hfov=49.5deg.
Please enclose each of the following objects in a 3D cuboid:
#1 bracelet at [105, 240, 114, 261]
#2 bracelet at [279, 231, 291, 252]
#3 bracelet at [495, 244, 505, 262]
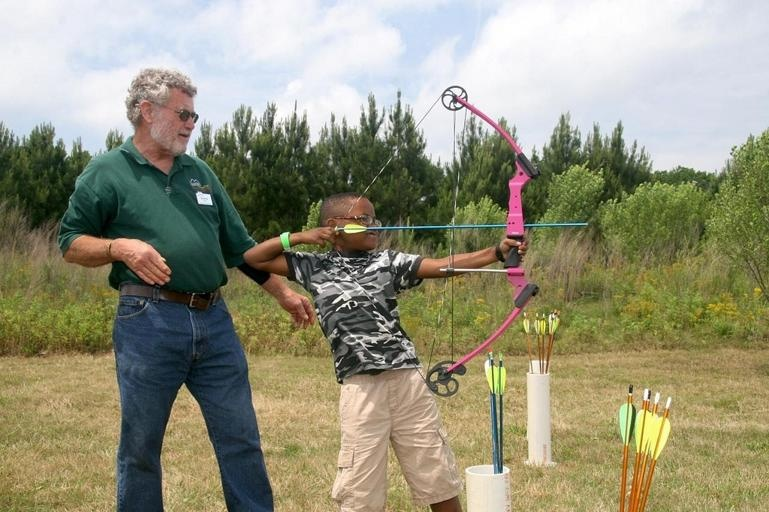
[{"bbox_3d":[-2.334,-0.044,7.087,0.041,0.125,0.088,2,-4,2],"label":"bracelet"},{"bbox_3d":[-0.885,-0.129,7.435,0.103,0.165,0.171,-3,15,-2],"label":"bracelet"},{"bbox_3d":[0.977,-0.024,7.207,0.095,0.124,0.045,-7,-8,38],"label":"bracelet"}]
